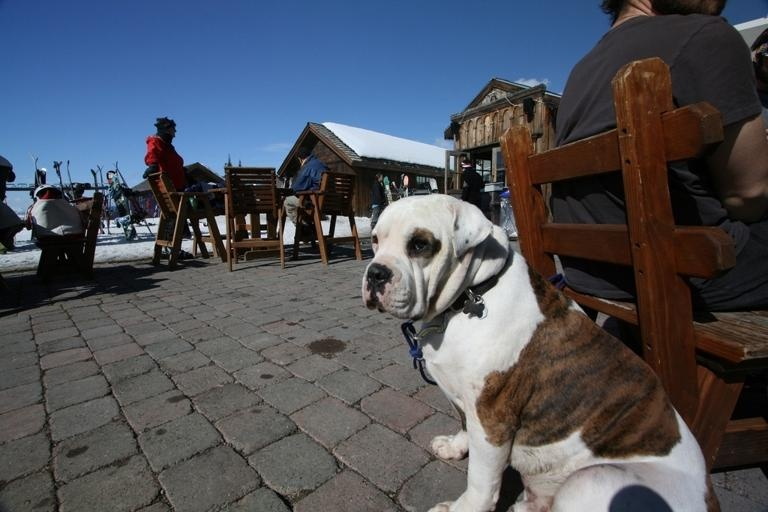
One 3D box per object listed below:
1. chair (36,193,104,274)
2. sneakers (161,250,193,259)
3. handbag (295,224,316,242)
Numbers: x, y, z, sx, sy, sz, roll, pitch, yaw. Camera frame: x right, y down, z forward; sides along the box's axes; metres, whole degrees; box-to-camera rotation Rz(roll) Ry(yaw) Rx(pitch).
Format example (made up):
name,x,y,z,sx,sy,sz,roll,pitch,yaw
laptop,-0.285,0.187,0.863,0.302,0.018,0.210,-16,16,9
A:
name,x,y,z,sx,sy,sz,roll,pitch,yaw
chair,-5.009,-0.297,6.479,1.056,1.335,0.587,1,8,7
sneakers,-4.343,-0.028,8.473,0.479,0.247,0.164,2,10,9
handbag,-1.709,-0.501,8.784,0.299,0.347,0.313,-18,28,-29
